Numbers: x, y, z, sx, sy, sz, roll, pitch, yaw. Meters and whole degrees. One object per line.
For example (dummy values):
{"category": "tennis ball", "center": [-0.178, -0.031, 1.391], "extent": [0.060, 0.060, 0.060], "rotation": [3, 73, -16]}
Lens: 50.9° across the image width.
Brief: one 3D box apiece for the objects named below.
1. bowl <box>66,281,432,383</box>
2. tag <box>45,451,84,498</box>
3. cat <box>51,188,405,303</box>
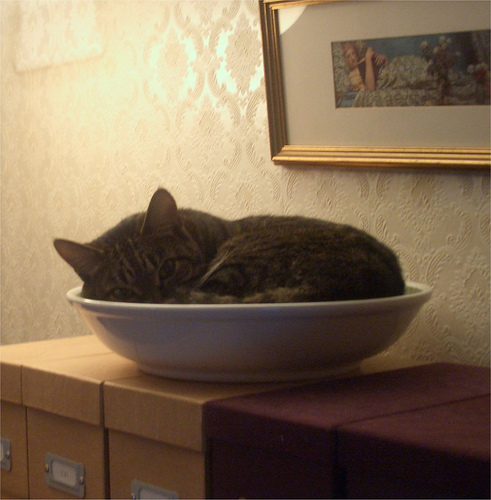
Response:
{"category": "bowl", "center": [-0.011, 0.067, 0.630], "extent": [0.324, 0.098, 0.330], "rotation": [-2, -4, 0]}
{"category": "tag", "center": [-0.215, 0.265, 0.609], "extent": [0.075, 0.042, 0.007], "rotation": [-2, 0, 40]}
{"category": "cat", "center": [-0.013, 0.018, 0.639], "extent": [0.393, 0.152, 0.340], "rotation": [-2, -2, -6]}
